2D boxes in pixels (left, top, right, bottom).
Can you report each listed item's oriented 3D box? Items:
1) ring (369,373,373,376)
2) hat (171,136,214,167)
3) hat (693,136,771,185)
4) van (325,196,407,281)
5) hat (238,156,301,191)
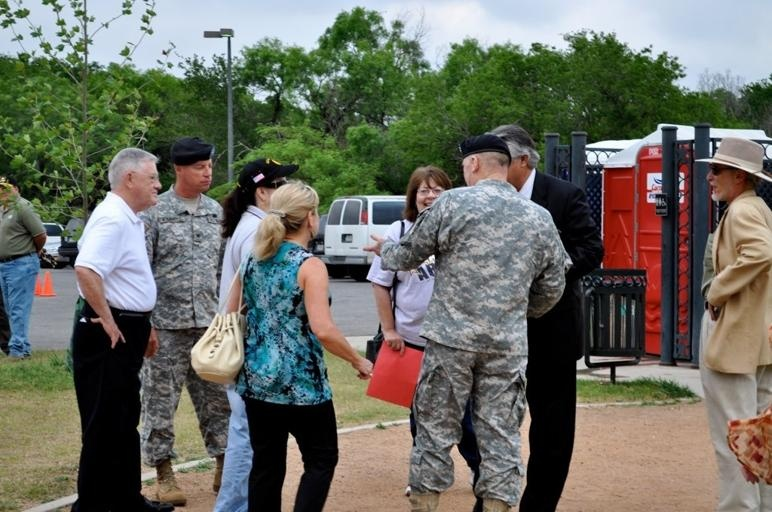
[{"bbox_3d":[-0.111,0.931,7.827,0.010,0.027,0.030,12,-12,-12],"label":"ring"},{"bbox_3d":[-1.723,-0.938,8.891,0.274,0.152,0.336,-15,9,-34],"label":"hat"},{"bbox_3d":[2.966,-0.835,8.455,0.459,0.160,0.434,20,3,8],"label":"hat"},{"bbox_3d":[-0.545,-0.661,26.957,2.027,1.485,2.836,0,4,14],"label":"van"},{"bbox_3d":[-0.992,-0.711,8.573,0.484,0.164,0.281,-13,17,-2],"label":"hat"}]
